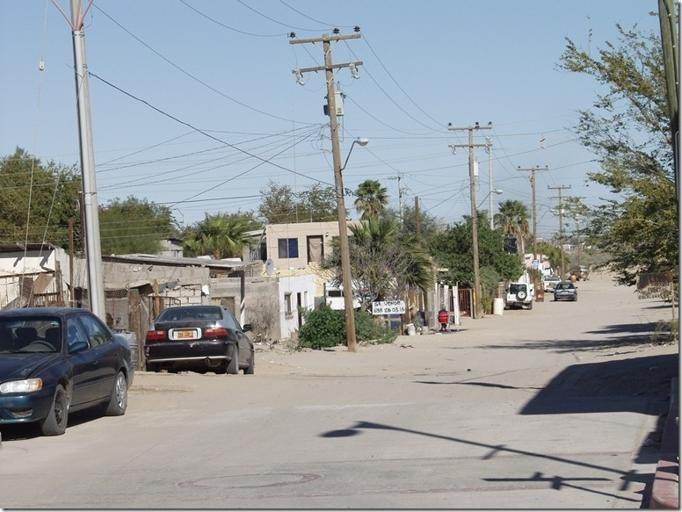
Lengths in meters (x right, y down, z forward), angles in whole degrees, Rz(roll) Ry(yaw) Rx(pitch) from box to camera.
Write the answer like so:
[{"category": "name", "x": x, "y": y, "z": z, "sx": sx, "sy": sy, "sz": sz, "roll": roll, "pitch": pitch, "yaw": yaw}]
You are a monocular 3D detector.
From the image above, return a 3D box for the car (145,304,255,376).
[{"category": "car", "x": -3.198, "y": 2.022, "z": 22.151, "sx": 1.859, "sy": 1.542, "sz": 2.591, "roll": -2, "pitch": 0, "yaw": 35}]

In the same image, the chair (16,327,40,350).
[{"category": "chair", "x": -5.173, "y": 1.358, "z": 15.557, "sx": 0.340, "sy": 0.334, "sz": 0.367, "roll": -2, "pitch": 0, "yaw": -17}]

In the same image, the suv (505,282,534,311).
[{"category": "suv", "x": 11.473, "y": 2.633, "z": 61.123, "sx": 1.188, "sy": 1.077, "sz": 2.157, "roll": 0, "pitch": 4, "yaw": 5}]
